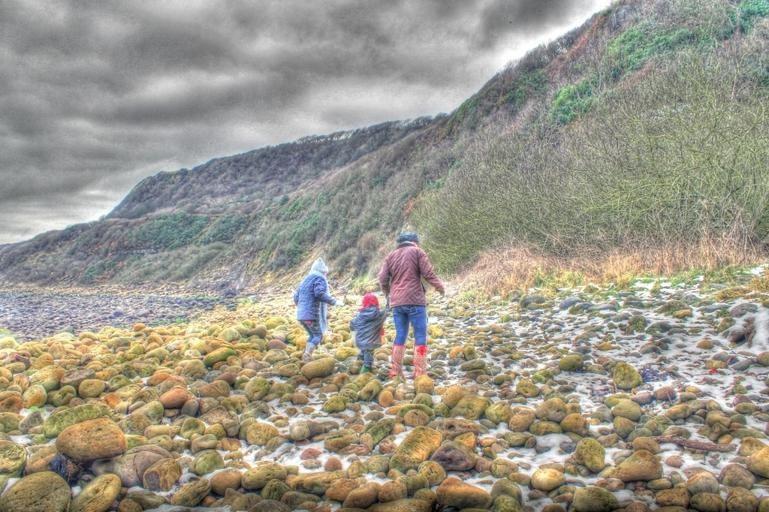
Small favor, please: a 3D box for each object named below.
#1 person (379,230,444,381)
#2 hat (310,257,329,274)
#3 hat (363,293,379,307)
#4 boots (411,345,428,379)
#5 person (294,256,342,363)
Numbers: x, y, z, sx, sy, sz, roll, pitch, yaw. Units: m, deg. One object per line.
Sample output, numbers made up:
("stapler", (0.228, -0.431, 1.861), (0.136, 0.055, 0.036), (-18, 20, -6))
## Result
("person", (0.431, 0.814, 9.941), (1.128, 2.436, 0.588), (-3, 3, 15))
("hat", (-1.304, 0.214, 11.419), (0.412, 0.312, 0.568), (7, -3, -6))
("hat", (-0.265, 0.788, 10.454), (0.246, 0.233, 0.244), (-3, 4, -1))
("boots", (0.583, 1.777, 9.743), (0.220, 0.550, 0.421), (-4, 2, -1))
("person", (-1.369, 0.970, 11.065), (0.742, 1.297, 0.945), (-5, 2, -10))
